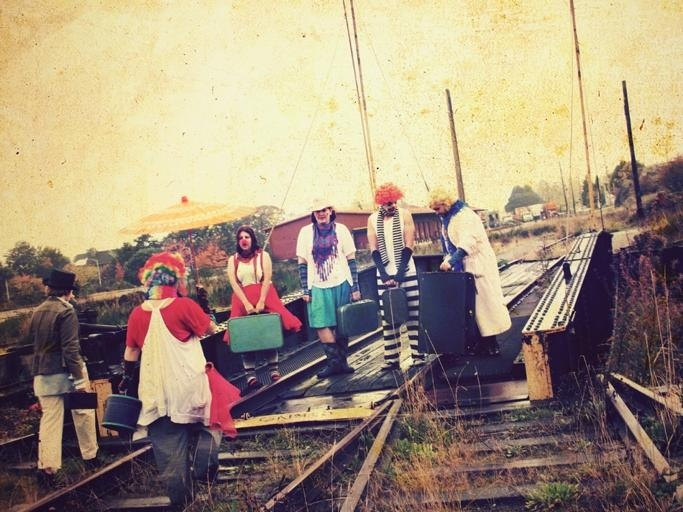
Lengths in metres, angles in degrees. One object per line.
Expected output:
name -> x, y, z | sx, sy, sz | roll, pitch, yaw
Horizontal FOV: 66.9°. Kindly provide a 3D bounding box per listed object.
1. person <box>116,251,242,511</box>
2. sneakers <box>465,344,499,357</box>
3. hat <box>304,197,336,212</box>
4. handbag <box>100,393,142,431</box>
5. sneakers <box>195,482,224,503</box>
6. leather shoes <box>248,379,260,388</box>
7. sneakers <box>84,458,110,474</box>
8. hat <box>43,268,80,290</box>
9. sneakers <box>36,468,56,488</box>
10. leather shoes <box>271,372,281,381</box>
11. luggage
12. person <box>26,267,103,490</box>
person -> -1.687, 1.261, 5.373 | 1.066, 2.554, 0.389 | -6, 0, -19
sneakers -> 1.975, 1.307, 7.064 | 0.221, 0.122, 0.328 | 1, -2, -11
hat -> -0.282, -0.719, 7.264 | 0.309, 0.227, 0.347 | -8, -1, -2
handbag -> -2.211, 1.587, 5.268 | 0.308, 0.282, 0.357 | 4, -29, 11
sneakers -> -1.395, 2.462, 5.386 | 0.174, 0.092, 0.195 | -3, 5, -1
leather shoes -> -1.200, 1.746, 7.121 | 0.169, 0.136, 0.234 | -8, -1, -11
sneakers -> -3.109, 2.634, 6.558 | 0.246, 0.166, 0.259 | 0, -4, -7
hat -> -3.500, 0.282, 6.535 | 0.366, 0.203, 0.475 | 12, 5, -19
sneakers -> -3.561, 2.671, 6.216 | 0.192, 0.339, 0.180 | 0, -15, -44
leather shoes -> -0.915, 1.666, 7.190 | 0.121, 0.148, 0.128 | 6, 18, -5
luggage -> 1.408, 0.721, 6.818 | 0.855, 1.405, 0.436 | -2, -2, 15
person -> -3.463, 1.443, 6.353 | 0.685, 2.463, 0.820 | -6, 0, -30
